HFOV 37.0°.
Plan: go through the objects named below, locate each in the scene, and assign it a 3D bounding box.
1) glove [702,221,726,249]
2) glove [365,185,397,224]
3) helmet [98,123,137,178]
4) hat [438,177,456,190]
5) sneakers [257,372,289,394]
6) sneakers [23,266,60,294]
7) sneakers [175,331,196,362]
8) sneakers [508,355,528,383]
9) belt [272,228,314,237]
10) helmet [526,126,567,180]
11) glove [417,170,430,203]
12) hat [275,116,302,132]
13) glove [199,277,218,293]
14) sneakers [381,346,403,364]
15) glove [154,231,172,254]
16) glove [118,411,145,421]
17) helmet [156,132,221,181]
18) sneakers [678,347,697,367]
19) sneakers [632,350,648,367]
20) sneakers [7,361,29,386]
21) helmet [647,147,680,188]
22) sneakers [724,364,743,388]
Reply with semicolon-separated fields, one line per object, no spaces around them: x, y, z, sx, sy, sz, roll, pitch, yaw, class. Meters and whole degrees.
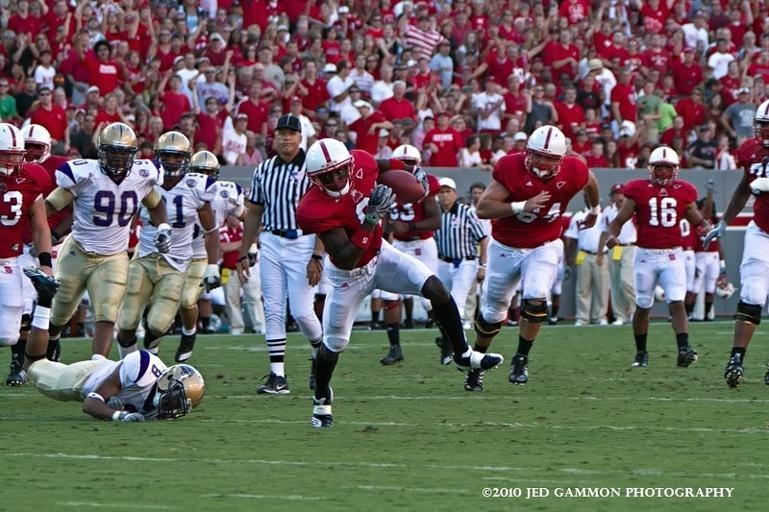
2.924;-0.195;10.231;0.172;0.237;0.417;1;-1;13;glove
-0.041;-0.391;8.547;0.185;0.291;0.076;29;-11;-6;glove
-2.363;-0.957;10.050;0.328;0.455;0.461;0;15;-16;helmet
0.702;-0.833;13.111;0.156;0.146;0.416;1;-1;6;hat
-1.022;1.117;10.015;0.128;0.169;0.346;-10;-18;42;sneakers
-2.907;0.218;9.653;0.265;0.095;0.177;36;17;2;sneakers
-1.982;0.887;11.332;0.136;0.409;0.175;10;10;10;sneakers
1.197;1.009;10.322;0.164;0.276;0.252;1;-1;9;sneakers
-0.835;-0.194;9.948;0.325;0.056;0.045;1;-1;14;belt
1.408;-0.970;10.047;0.343;0.439;0.375;11;-43;7;helmet
0.272;-0.574;9.238;0.088;0.210;0.155;-19;-29;-1;glove
-0.837;-1.146;9.875;0.214;0.106;0.192;1;-1;-6;hat
-1.677;0.243;10.918;0.145;0.088;0.187;-8;-26;-34;glove
0.021;1.018;11.691;0.298;0.178;0.106;5;-8;-44;sneakers
-1.928;-0.118;10.053;0.133;0.185;0.091;0;-5;-4;glove
-1.968;1.236;8.814;0.137;0.055;0.087;6;2;1;glove
-1.899;-1.000;10.833;0.365;0.410;0.500;0;25;0;helmet
2.886;0.971;11.014;0.104;0.140;0.282;-2;-20;-16;sneakers
2.511;0.998;11.276;0.155;0.181;0.147;1;4;18;sneakers
-3.320;1.069;10.332;0.175;0.165;0.152;2;-1;-19;sneakers
2.766;-0.902;11.435;0.271;0.403;0.253;1;-1;13;helmet
2.910;0.995;9.652;0.106;0.287;0.133;5;42;11;sneakers
